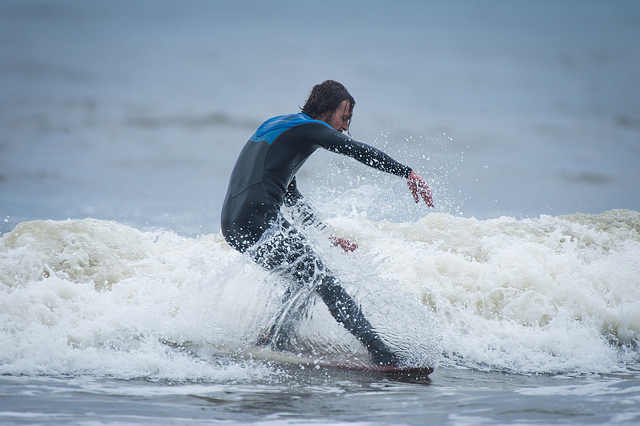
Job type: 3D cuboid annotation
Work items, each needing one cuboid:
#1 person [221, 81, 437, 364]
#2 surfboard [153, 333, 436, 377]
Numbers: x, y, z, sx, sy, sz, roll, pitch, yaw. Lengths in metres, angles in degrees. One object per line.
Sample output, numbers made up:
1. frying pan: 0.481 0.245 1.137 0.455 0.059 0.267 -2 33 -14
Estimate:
1. person: 0.003 0.010 7.023 1.392 1.974 0.631 10 -10 9
2. surfboard: -0.112 1.005 6.900 1.684 0.152 0.123 6 3 4
